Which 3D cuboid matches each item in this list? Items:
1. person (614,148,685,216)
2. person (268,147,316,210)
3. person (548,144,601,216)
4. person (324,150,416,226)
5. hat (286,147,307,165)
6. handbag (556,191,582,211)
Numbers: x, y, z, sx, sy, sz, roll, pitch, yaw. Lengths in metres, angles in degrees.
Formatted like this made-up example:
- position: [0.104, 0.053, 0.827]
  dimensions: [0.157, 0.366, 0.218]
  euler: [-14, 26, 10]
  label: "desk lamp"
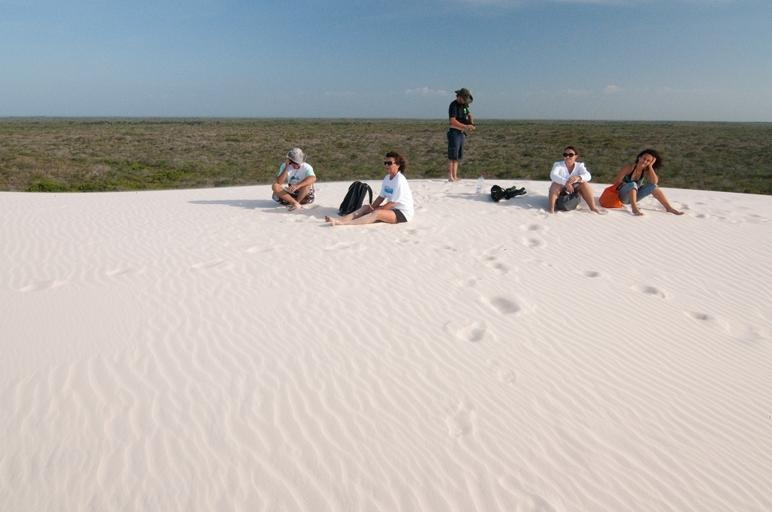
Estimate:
- position: [5.170, -1.502, 10.562]
  dimensions: [0.888, 1.189, 1.440]
  euler: [-7, 18, -24]
  label: "person"
- position: [-1.960, -1.783, 11.334]
  dimensions: [1.244, 1.456, 1.305]
  euler: [0, 33, -5]
  label: "person"
- position: [3.685, -1.529, 10.769]
  dimensions: [0.962, 1.400, 1.185]
  euler: [0, -1, -4]
  label: "person"
- position: [-0.310, -1.234, 9.910]
  dimensions: [1.756, 1.298, 0.728]
  euler: [-13, 25, -32]
  label: "person"
- position: [-1.904, -2.119, 10.905]
  dimensions: [0.488, 0.451, 0.163]
  euler: [-6, -9, -22]
  label: "hat"
- position: [3.717, -1.161, 10.967]
  dimensions: [0.501, 0.466, 0.328]
  euler: [-11, 18, -9]
  label: "handbag"
